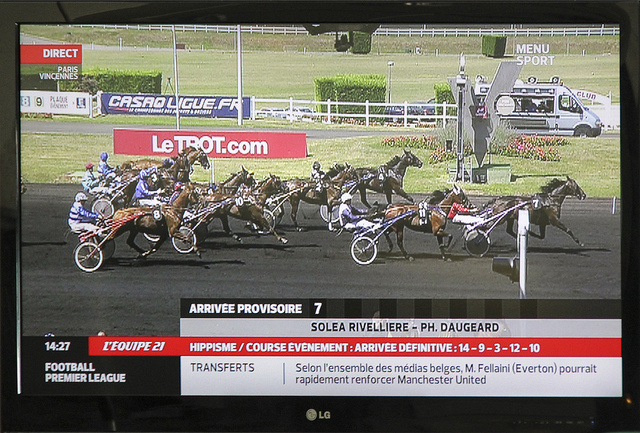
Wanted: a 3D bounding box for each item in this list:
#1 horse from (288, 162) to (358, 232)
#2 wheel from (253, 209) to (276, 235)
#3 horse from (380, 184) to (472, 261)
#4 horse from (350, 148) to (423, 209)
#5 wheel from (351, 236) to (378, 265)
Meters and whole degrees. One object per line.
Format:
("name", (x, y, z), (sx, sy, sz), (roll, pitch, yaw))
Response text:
("horse", (-0.014, -0.106, 7.070), (0.538, 0.383, 0.122), (-6, 4, 22))
("wheel", (-0.319, 0.032, 6.951), (0.150, 0.143, 0.036), (14, 0, 1))
("horse", (0.610, 0.038, 7.080), (0.665, 0.465, 0.150), (-1, -1, 28))
("horse", (0.337, -0.203, 7.093), (0.610, 0.352, 0.134), (-2, -1, 28))
("wheel", (0.261, 0.206, 7.084), (0.164, 0.160, 0.162), (-3, -11, 0))
